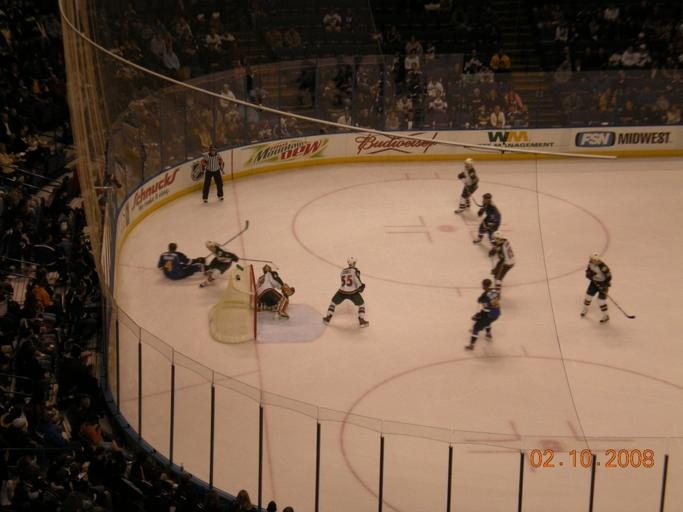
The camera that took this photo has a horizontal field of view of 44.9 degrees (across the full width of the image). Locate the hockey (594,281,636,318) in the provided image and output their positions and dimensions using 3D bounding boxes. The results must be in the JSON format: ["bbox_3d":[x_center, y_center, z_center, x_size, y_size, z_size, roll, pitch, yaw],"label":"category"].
[{"bbox_3d":[7.202,1.171,21.820,0.385,0.030,1.296,-43,27,9],"label":"hockey"}]

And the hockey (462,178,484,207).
[{"bbox_3d":[4.281,-2.047,27.309,0.447,0.417,1.225,8,-25,3],"label":"hockey"}]

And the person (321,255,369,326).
[{"bbox_3d":[0.069,0.992,21.825,1.515,2.148,0.942,2,44,-3],"label":"person"}]

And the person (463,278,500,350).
[{"bbox_3d":[3.413,1.399,20.135,0.913,1.782,1.232,-7,8,0],"label":"person"}]
